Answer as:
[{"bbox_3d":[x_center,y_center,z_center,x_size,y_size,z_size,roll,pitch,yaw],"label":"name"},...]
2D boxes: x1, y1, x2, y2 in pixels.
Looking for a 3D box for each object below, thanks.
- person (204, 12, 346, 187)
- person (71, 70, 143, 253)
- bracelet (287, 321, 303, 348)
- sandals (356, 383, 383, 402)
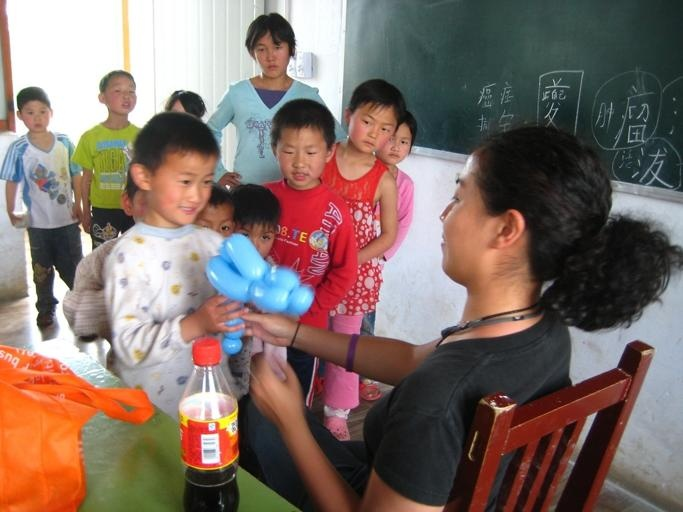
[{"bbox_3d":[-0.375,-0.542,2.761,0.748,1.323,0.426,2,-1,1],"label":"person"},{"bbox_3d":[-1.508,-0.469,3.520,0.472,1.445,0.290,-6,29,-41],"label":"person"},{"bbox_3d":[-0.135,0.233,1.603,0.013,0.056,0.053,18,-20,-13],"label":"bracelet"},{"bbox_3d":[0.152,0.713,2.890,0.083,0.042,0.101,0,20,-4],"label":"sandals"}]
